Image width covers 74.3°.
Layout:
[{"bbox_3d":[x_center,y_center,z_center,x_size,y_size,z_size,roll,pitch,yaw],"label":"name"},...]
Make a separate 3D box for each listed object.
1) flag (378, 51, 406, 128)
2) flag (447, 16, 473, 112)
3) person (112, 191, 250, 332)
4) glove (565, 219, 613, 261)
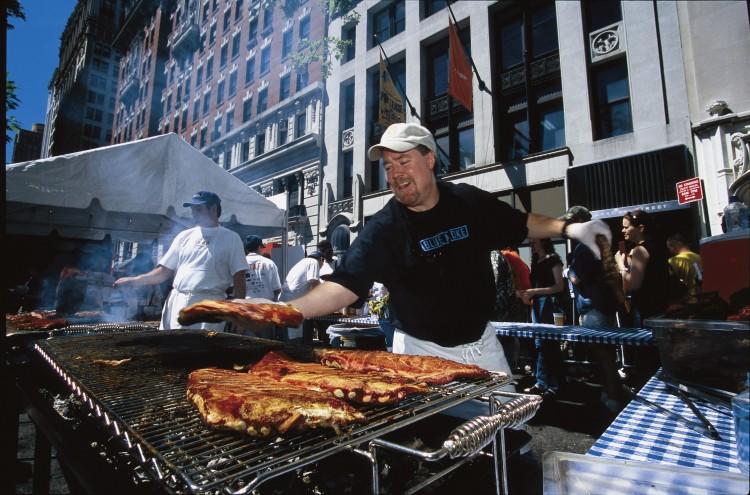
[{"bbox_3d":[0.416,-4.380,14.138,0.467,1.967,1.597,0,6,16],"label":"flag"},{"bbox_3d":[2.447,-5.295,14.070,0.255,2.426,3.303,-3,-8,21],"label":"flag"},{"bbox_3d":[-2.223,0.207,6.067,1.187,1.740,0.617,-1,6,1],"label":"person"},{"bbox_3d":[1.787,-0.108,4.111,0.361,0.269,0.134,40,26,23],"label":"glove"}]
